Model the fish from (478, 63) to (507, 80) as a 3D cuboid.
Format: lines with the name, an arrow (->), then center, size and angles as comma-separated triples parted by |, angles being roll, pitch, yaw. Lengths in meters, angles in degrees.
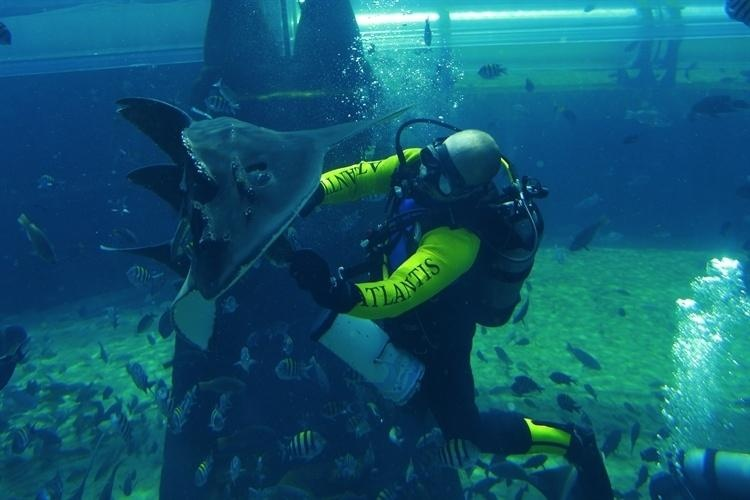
fish -> 4.215, -6.386, 25.048 | 0.933, 0.528, 0.493 | 11, 27, 28

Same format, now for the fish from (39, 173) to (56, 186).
fish -> -12.669, -2.708, 27.148 | 0.538, 0.549, 0.184 | -35, -12, 25
